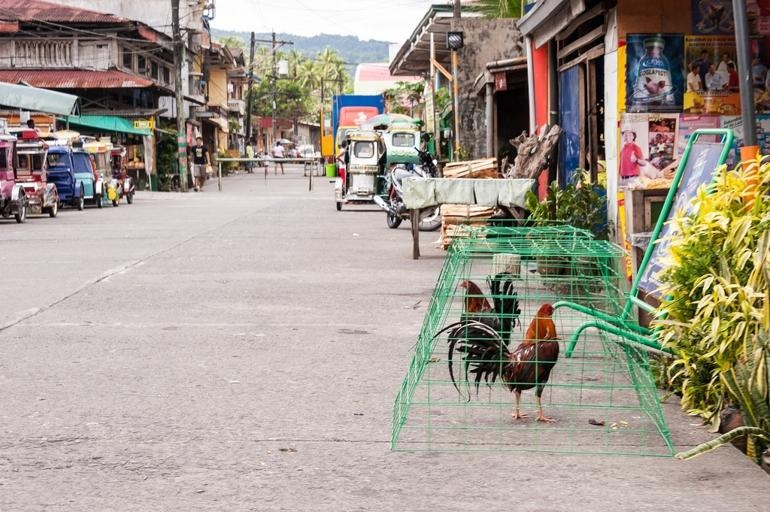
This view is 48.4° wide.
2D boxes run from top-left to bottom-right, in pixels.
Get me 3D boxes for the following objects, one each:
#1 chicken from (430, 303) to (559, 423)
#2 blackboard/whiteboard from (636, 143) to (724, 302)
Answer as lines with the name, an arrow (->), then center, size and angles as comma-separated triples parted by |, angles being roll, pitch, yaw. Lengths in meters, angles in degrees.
chicken -> 0.926, 0.815, 6.620 | 1.099, 0.903, 0.382 | 0, -5, -22
blackboard/whiteboard -> 2.695, -0.397, 7.776 | 0.794, 1.614, 0.665 | 2, 0, 11
